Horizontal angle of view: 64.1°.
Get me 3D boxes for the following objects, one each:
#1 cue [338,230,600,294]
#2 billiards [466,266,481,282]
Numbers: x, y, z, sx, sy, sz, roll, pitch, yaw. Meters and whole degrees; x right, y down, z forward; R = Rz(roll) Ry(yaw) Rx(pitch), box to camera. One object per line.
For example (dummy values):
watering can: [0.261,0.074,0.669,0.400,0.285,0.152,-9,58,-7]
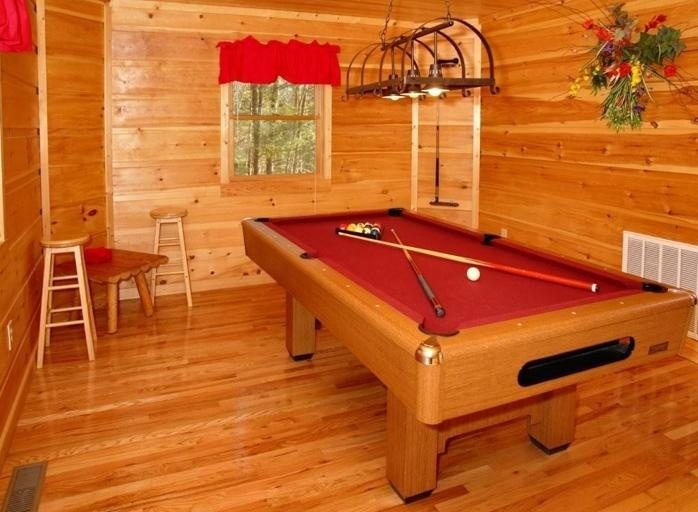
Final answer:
cue: [0.678,0.041,3.399,2.222,0.106,0.147,9,19,32]
billiards: [0.701,0.101,3.096,0.068,0.064,0.098,1,17,15]
